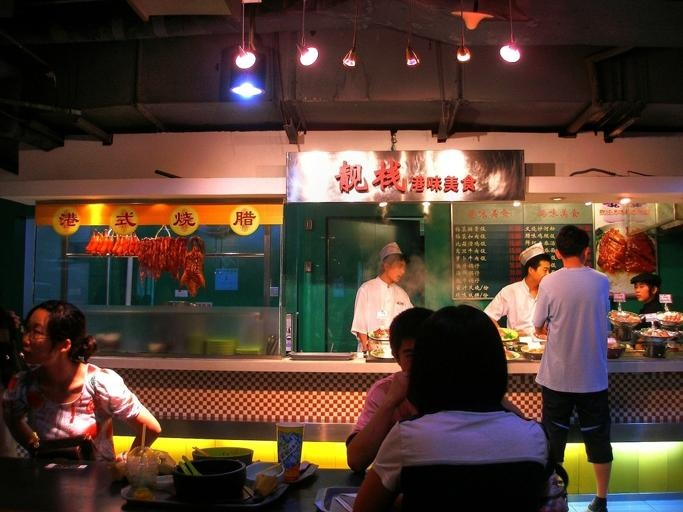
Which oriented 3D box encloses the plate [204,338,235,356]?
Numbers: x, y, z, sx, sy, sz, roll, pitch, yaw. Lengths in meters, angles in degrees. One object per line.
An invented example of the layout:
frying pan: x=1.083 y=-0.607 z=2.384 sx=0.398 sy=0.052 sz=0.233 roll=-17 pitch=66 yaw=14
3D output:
plate: x=-1.164 y=0.866 z=6.095 sx=0.284 sy=0.164 sz=0.057 roll=-3 pitch=-3 yaw=9

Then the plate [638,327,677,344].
plate: x=2.971 y=0.735 z=5.912 sx=0.346 sy=0.134 sz=0.215 roll=-3 pitch=-3 yaw=7

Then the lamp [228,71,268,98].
lamp: x=-0.881 y=-1.553 z=5.850 sx=0.248 sy=0.176 sz=0.253 roll=-5 pitch=-17 yaw=21

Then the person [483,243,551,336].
person: x=1.793 y=0.348 z=6.423 sx=0.810 sy=1.062 sz=0.326 roll=10 pitch=-3 yaw=-22

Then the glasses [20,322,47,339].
glasses: x=-1.986 y=0.489 z=4.100 sx=0.142 sy=0.099 sz=0.056 roll=-4 pitch=-3 yaw=29

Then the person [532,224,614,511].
person: x=1.975 y=0.959 z=5.371 sx=0.632 sy=2.418 sz=0.331 roll=-3 pitch=-3 yaw=16

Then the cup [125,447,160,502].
cup: x=-1.128 y=1.238 z=3.580 sx=0.198 sy=0.327 sz=0.137 roll=-3 pitch=-25 yaw=-6

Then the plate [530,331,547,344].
plate: x=1.865 y=0.770 z=5.969 sx=0.166 sy=0.099 sz=0.277 roll=3 pitch=2 yaw=36

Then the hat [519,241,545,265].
hat: x=2.014 y=-0.026 z=6.757 sx=0.247 sy=0.122 sz=0.206 roll=-25 pitch=-13 yaw=35

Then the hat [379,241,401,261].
hat: x=0.490 y=-0.048 z=6.479 sx=0.138 sy=0.111 sz=0.212 roll=8 pitch=-20 yaw=-14

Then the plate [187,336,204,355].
plate: x=-1.405 y=0.852 z=6.100 sx=0.168 sy=0.192 sz=0.167 roll=2 pitch=-2 yaw=-24

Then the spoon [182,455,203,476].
spoon: x=-0.871 y=1.195 z=3.602 sx=0.061 sy=0.012 sz=0.217 roll=-7 pitch=10 yaw=-23
